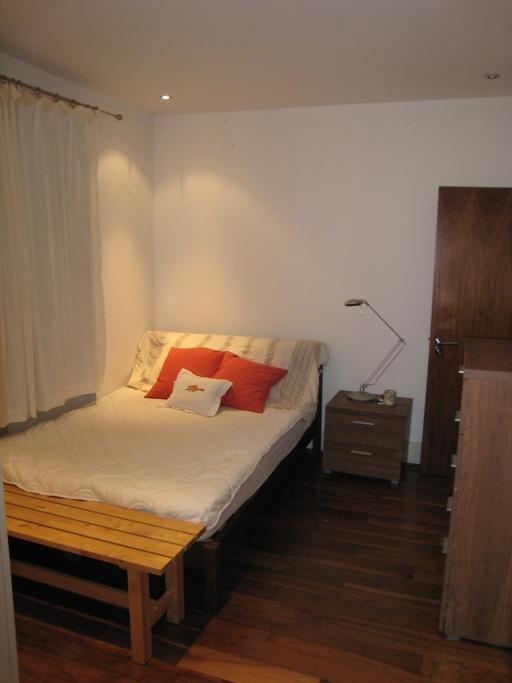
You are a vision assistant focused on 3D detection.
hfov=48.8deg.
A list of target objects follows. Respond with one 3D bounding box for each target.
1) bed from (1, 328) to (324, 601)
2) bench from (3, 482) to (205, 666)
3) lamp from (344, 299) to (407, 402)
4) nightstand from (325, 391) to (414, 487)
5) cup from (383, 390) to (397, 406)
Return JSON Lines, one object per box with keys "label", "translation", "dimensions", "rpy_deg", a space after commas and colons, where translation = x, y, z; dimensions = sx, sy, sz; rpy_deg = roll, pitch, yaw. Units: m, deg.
{"label": "bed", "translation": [-0.343, 0.502, 2.986], "dimensions": [1.126, 0.588, 1.392], "rpy_deg": [5, 11, 22]}
{"label": "bench", "translation": [-0.632, 0.881, 2.207], "dimensions": [0.835, 0.405, 0.360], "rpy_deg": [5, 11, 23]}
{"label": "lamp", "translation": [0.788, 0.048, 3.734], "dimensions": [0.404, 0.661, 0.354], "rpy_deg": [3, 11, 10]}
{"label": "nightstand", "translation": [0.690, 0.549, 3.739], "dimensions": [0.627, 0.568, 0.471], "rpy_deg": [3, 8, 21]}
{"label": "cup", "translation": [0.854, 0.363, 3.664], "dimensions": [0.068, 0.088, 0.105], "rpy_deg": [-1, 3, -2]}
